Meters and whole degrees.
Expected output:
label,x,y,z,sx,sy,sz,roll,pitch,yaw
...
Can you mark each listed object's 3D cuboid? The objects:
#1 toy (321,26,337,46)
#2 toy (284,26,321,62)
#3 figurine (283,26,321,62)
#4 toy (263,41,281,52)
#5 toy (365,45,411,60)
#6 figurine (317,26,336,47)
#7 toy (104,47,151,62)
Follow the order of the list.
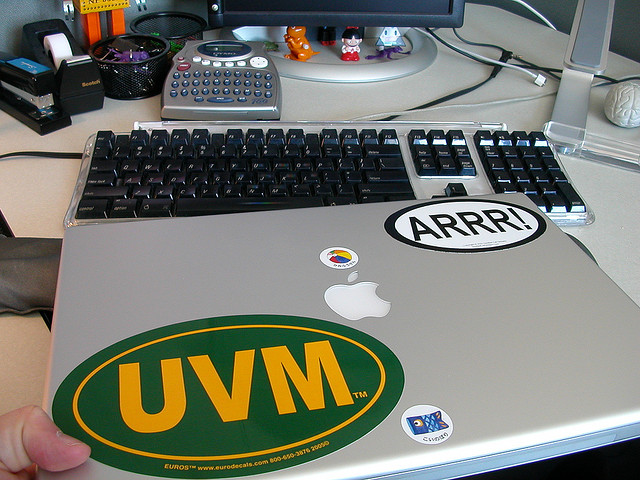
label,x,y,z,sx,sy,sz,roll,pitch,yaw
toy,0.016,-0.391,0.946,0.034,0.043,0.035,-4,42,-7
toy,-0.031,-0.365,0.901,0.081,0.062,0.044,0,36,-5
figurine,-0.034,-0.363,0.898,0.076,0.064,0.049,12,36,10
toy,-0.090,-0.363,0.923,0.030,0.009,0.019,0,43,-11
toy,0.130,-0.354,0.932,0.062,0.015,0.049,-8,31,-2
figurine,0.015,-0.393,0.947,0.034,0.047,0.036,-8,50,-9
toy,-0.296,-0.281,0.755,0.063,0.021,0.021,-2,6,-10
